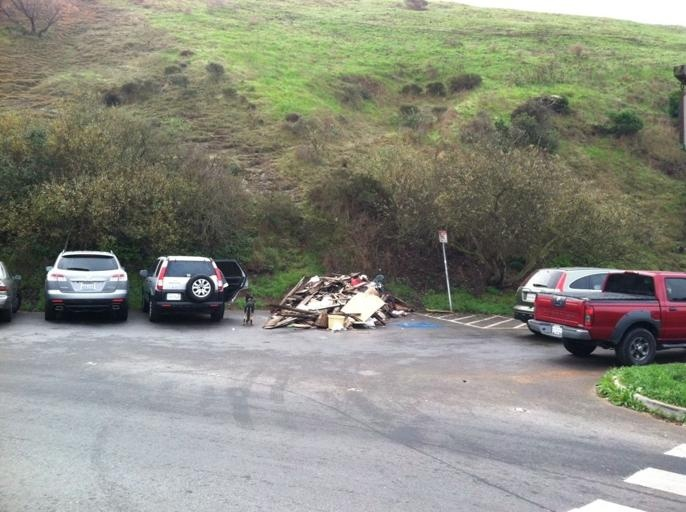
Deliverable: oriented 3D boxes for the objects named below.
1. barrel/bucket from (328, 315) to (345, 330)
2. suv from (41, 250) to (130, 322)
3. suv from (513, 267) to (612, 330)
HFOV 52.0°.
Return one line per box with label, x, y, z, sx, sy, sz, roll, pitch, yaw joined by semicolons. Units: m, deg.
barrel/bucket;-0.207;2.149;22.558;0.516;0.388;0.361;3;-3;-39
suv;-8.687;0.172;23.412;2.472;1.888;4.892;1;19;-25
suv;6.731;1.113;21.636;2.719;1.252;1.411;-5;5;-28
